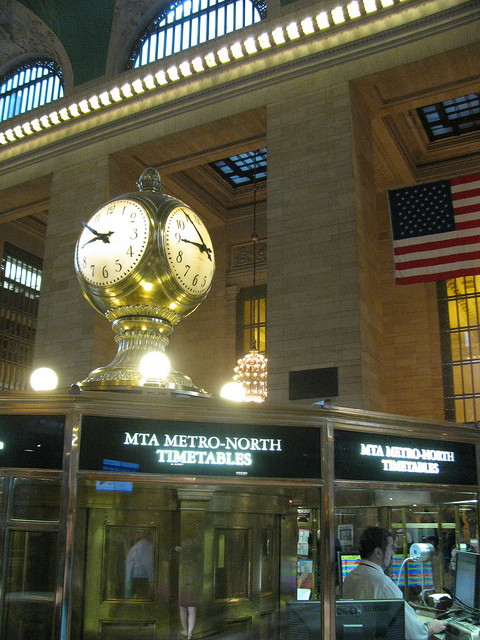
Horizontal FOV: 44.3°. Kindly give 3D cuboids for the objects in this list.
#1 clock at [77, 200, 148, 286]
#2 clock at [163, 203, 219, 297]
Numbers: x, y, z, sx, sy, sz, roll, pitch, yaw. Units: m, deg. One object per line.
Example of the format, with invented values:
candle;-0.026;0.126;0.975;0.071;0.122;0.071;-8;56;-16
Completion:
clock;-0.483;-0.294;2.302;0.359;0.337;0.029;-13;-29;41
clock;-0.179;-0.281;2.383;0.040;0.436;0.480;-12;28;-32
